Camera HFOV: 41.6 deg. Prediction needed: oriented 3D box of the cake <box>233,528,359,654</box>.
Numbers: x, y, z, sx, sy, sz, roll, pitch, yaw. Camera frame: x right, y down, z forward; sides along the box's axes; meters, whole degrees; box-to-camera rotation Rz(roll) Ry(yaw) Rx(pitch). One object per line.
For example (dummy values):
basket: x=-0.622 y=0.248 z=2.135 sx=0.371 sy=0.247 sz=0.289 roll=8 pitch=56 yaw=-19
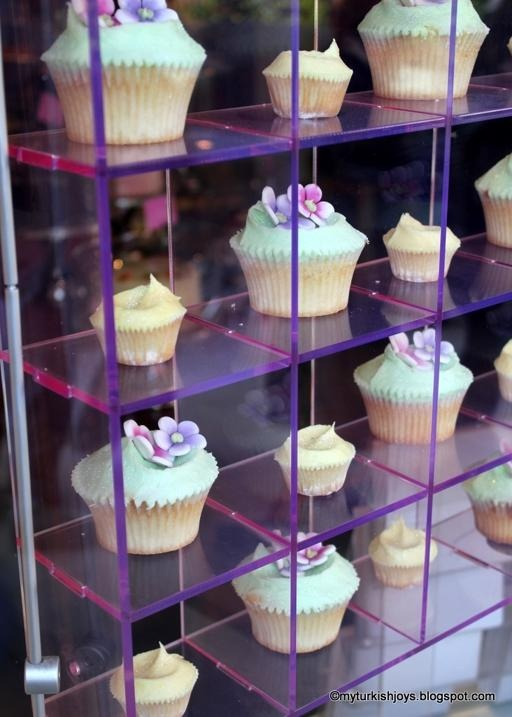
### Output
cake: x=0.072 y=0.448 z=1.298 sx=0.241 sy=0.161 sz=0.247 roll=-2 pitch=7 yaw=-4

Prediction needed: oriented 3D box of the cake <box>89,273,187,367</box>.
cake: x=-0.137 y=-0.046 z=0.870 sx=0.114 sy=0.095 sz=0.120 roll=8 pitch=27 yaw=13

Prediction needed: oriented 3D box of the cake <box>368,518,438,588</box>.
cake: x=0.300 y=0.414 z=1.404 sx=0.126 sy=0.105 sz=0.109 roll=-2 pitch=-8 yaw=38

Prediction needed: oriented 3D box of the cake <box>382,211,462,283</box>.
cake: x=0.311 y=-0.213 z=1.270 sx=0.122 sy=0.100 sz=0.127 roll=-1 pitch=18 yaw=-7

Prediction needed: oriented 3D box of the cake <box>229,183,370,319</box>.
cake: x=0.078 y=-0.173 z=1.085 sx=0.213 sy=0.180 sz=0.221 roll=8 pitch=14 yaw=23

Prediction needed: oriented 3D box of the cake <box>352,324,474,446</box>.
cake: x=0.316 y=0.036 z=1.380 sx=0.237 sy=0.217 sz=0.263 roll=0 pitch=11 yaw=6

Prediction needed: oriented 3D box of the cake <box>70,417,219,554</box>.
cake: x=-0.164 y=0.179 z=0.976 sx=0.193 sy=0.147 sz=0.205 roll=-10 pitch=19 yaw=-33

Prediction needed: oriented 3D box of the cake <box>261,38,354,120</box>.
cake: x=0.078 y=-0.431 z=1.042 sx=0.141 sy=0.107 sz=0.139 roll=17 pitch=28 yaw=36

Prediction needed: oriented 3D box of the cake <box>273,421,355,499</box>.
cake: x=0.087 y=0.164 z=1.208 sx=0.144 sy=0.102 sz=0.137 roll=6 pitch=13 yaw=36
